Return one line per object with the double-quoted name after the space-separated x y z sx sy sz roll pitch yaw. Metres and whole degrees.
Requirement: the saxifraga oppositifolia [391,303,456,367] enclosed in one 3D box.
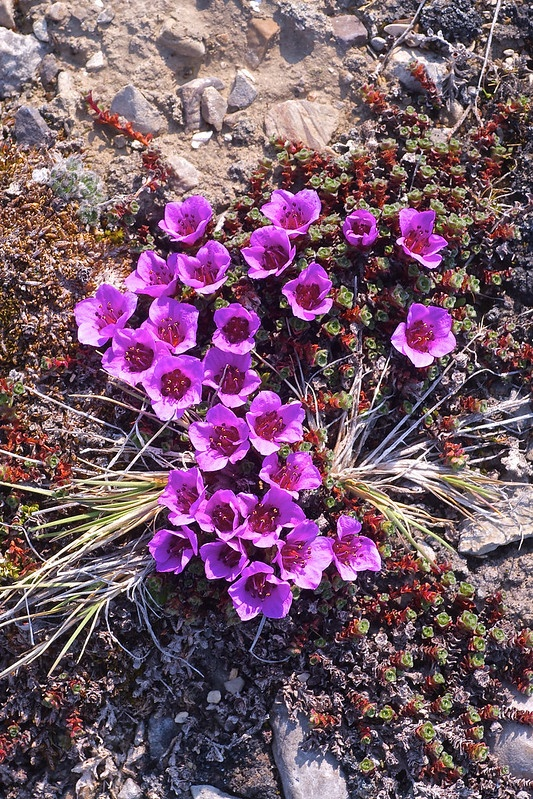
1.032 -0.403 5.157 0.428 0.425 0.207 22 10 -5 "saxifraga oppositifolia"
